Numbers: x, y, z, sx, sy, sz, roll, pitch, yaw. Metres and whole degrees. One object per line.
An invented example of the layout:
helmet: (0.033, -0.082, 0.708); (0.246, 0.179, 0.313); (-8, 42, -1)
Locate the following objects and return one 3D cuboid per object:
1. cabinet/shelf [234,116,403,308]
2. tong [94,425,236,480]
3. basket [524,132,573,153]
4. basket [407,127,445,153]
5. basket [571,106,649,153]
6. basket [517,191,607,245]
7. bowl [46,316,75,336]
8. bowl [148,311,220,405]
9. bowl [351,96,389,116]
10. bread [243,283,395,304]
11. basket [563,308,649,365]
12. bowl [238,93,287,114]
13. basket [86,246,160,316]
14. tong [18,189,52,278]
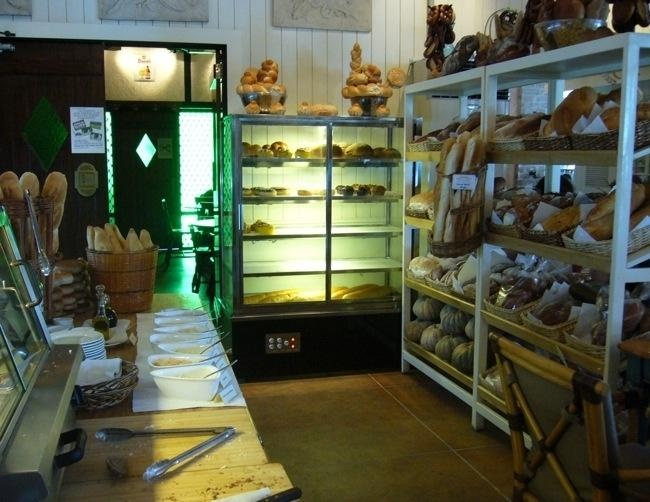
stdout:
cabinet/shelf: (-0.091, -0.347, 4.088); (1.574, 1.558, 0.505); (-1, 8, -12)
tong: (-0.429, 0.566, 1.455); (0.204, 0.036, 0.158); (1, 11, -40)
basket: (1.132, -0.546, 2.543); (0.041, 0.070, 0.300); (-4, 10, -26)
basket: (0.758, -0.796, 3.628); (0.231, 0.069, 0.233); (-3, 22, 48)
basket: (1.333, -0.569, 2.294); (0.241, 0.215, 0.306); (-2, 9, -11)
basket: (1.266, -0.218, 2.667); (0.387, 0.131, 0.298); (-15, 13, -38)
bowl: (-1.212, 0.340, 2.278); (0.092, 0.084, 0.095); (5, 2, 0)
bowl: (-0.541, 0.427, 1.928); (0.178, 0.073, 0.417); (-2, 15, -20)
bowl: (0.357, -1.154, 4.110); (0.194, 0.088, 0.196); (-1, 3, 0)
bread: (0.009, 0.366, 4.247); (0.857, 0.146, 0.089); (-2, -13, -4)
basket: (1.309, 0.361, 2.330); (0.293, 0.089, 0.214); (-9, 13, -14)
bowl: (-0.486, -1.172, 3.942); (0.292, 0.104, 0.289); (-1, 5, 0)
basket: (-1.184, 0.183, 3.119); (0.430, 0.362, 0.391); (0, -2, 2)
tong: (-1.210, -0.075, 2.070); (0.074, 0.426, 0.076); (-11, 5, -42)
